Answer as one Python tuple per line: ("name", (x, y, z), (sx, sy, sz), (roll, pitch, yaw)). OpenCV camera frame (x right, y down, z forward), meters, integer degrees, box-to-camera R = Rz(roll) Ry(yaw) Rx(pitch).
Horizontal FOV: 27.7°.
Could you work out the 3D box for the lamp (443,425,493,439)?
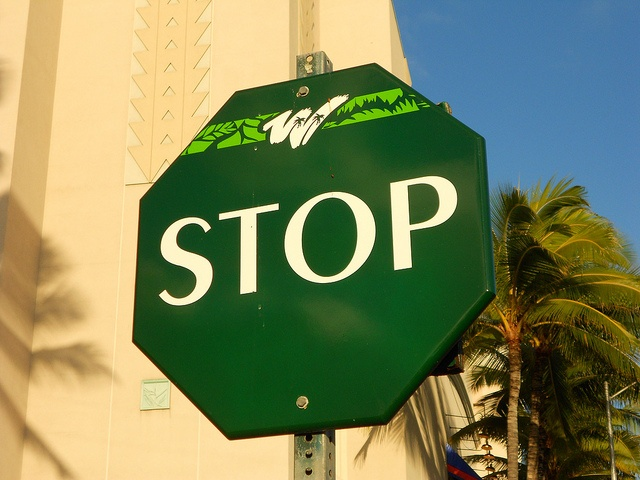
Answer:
("lamp", (3.906, 5.079, 34.406), (0.987, 0.354, 1.068), (-11, -20, 28))
